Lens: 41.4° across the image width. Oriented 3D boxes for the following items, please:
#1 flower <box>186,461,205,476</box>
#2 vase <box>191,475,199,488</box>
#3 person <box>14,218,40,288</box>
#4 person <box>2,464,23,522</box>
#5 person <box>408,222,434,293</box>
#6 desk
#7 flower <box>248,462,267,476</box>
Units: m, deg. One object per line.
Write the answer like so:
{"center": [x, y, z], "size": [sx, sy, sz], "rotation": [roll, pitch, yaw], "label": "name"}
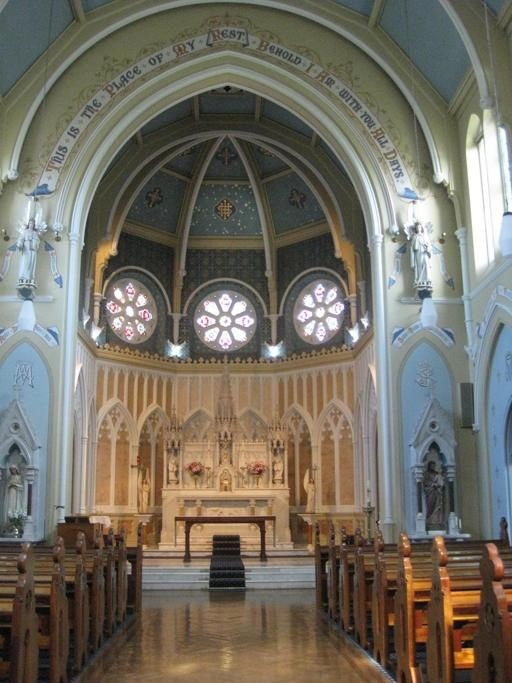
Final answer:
{"center": [-1.589, 3.380, 18.030], "size": [0.460, 0.383, 0.369], "rotation": [-1, -15, -4], "label": "flower"}
{"center": [-1.602, 3.713, 18.110], "size": [0.266, 0.410, 0.265], "rotation": [2, -37, -5], "label": "vase"}
{"center": [-4.083, -1.521, 12.143], "size": [0.439, 1.372, 0.606], "rotation": [3, -15, -18], "label": "person"}
{"center": [-4.081, 2.569, 11.517], "size": [0.329, 0.897, 0.217], "rotation": [-12, -17, 34], "label": "person"}
{"center": [2.917, -1.479, 12.052], "size": [0.368, 1.344, 0.382], "rotation": [-6, -15, 17], "label": "person"}
{"center": [-0.669, 4.263, 14.638], "size": [2.173, 0.968, 0.556], "rotation": [-1, -14, 4], "label": "desk"}
{"center": [0.012, 3.378, 18.109], "size": [0.375, 0.322, 0.373], "rotation": [2, -9, -10], "label": "flower"}
